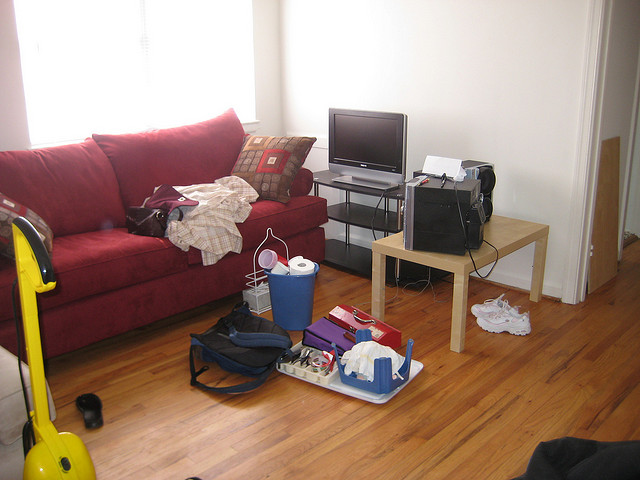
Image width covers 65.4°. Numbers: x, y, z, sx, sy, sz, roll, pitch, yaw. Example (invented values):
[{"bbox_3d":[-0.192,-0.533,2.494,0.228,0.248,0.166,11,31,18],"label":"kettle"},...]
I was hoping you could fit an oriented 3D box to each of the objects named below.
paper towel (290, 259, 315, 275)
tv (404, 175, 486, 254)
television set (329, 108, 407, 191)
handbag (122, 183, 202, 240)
[{"bbox_3d":[-0.108,0.165,3.080,0.151,0.058,0.153,0,24,3],"label":"paper towel"},{"bbox_3d":[0.761,-0.193,3.026,0.447,0.370,0.443,9,19,22],"label":"tv"},{"bbox_3d":[0.356,-0.706,3.755,0.794,0.595,0.124,18,24,42],"label":"television set"},{"bbox_3d":[-1.034,-0.172,3.183,0.394,0.231,0.397,-23,32,-39],"label":"handbag"}]
